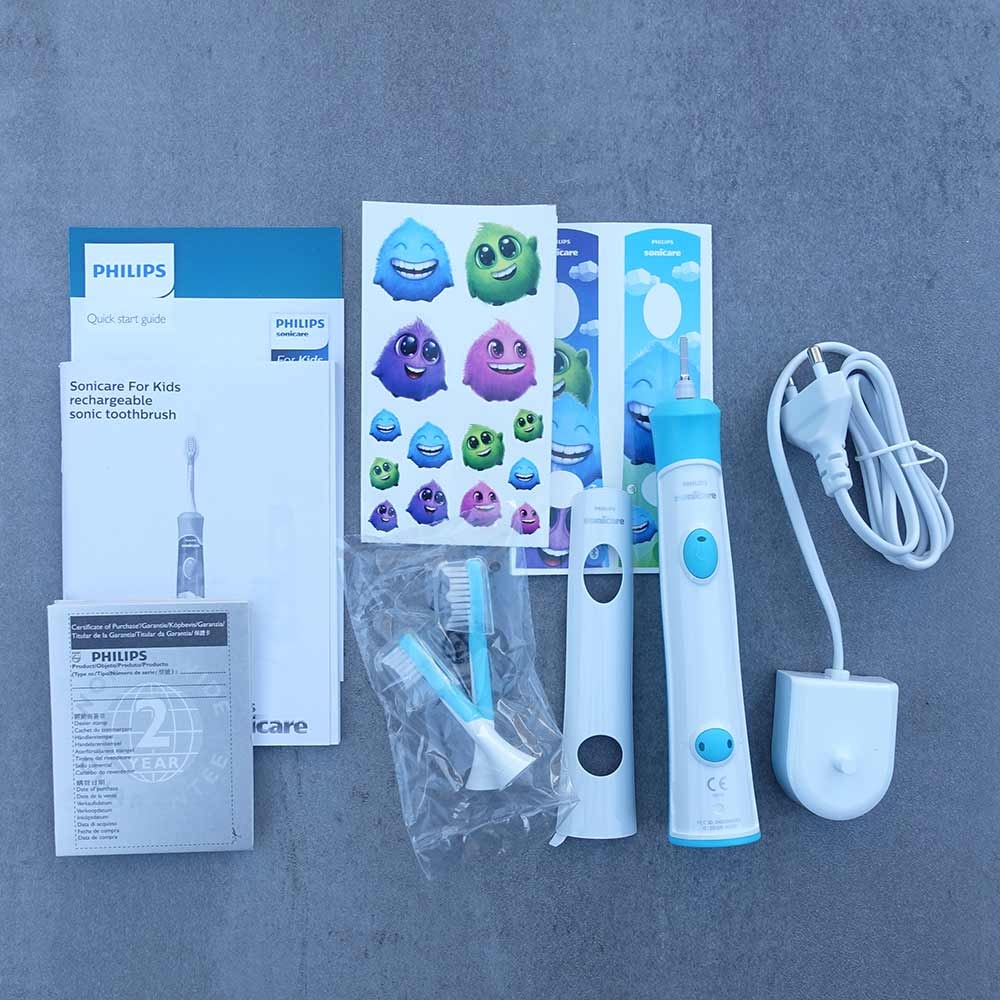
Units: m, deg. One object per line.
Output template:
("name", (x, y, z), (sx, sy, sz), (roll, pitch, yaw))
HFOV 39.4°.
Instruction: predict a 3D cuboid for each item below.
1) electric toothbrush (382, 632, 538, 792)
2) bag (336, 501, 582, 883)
("electric toothbrush", (-0.028, 0.167, 1.168), (0.074, 0.068, 0.153), (-36, 87, 2))
("bag", (-0.029, 0.155, 1.147), (0.143, 0.054, 0.273), (-19, 67, -7))
